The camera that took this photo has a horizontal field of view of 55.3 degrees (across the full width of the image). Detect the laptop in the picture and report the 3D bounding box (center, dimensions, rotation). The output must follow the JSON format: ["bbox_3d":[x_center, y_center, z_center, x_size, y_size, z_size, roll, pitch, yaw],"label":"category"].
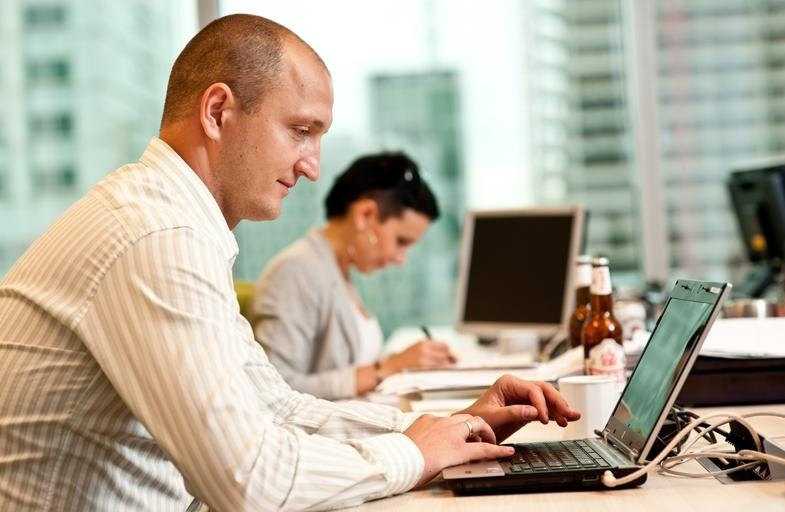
[{"bbox_3d":[0.372,0.284,1.683,0.589,0.411,0.416,1,-5,-6],"label":"laptop"}]

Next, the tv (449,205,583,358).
[{"bbox_3d":[0.527,0.105,3.092,0.657,0.657,0.217,-3,-14,36],"label":"tv"}]

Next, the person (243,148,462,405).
[{"bbox_3d":[-0.098,0.042,3.269,0.863,1.034,0.997,7,-4,-1],"label":"person"}]

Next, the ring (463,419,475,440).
[{"bbox_3d":[0.181,0.402,1.737,0.016,0.044,0.033,-19,14,6],"label":"ring"}]
